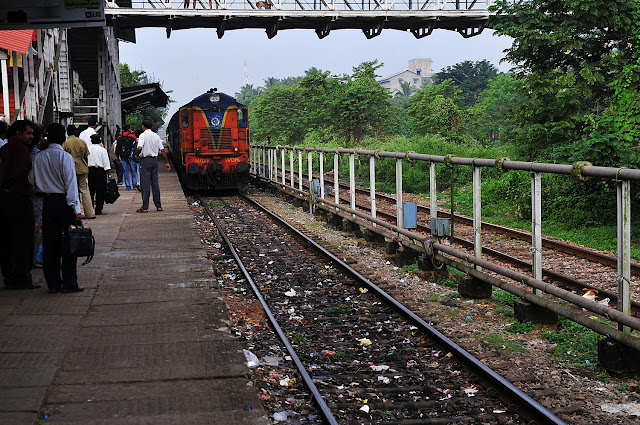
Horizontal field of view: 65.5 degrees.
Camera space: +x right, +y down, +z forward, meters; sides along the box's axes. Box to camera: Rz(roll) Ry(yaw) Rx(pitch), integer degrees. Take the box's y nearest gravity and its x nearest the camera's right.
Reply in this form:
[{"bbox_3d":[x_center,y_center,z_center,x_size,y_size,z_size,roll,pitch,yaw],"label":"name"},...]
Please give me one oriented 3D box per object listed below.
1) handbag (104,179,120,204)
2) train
[{"bbox_3d":[-6.632,-0.649,15.776,0.395,0.791,0.878,-4,10,2],"label":"handbag"},{"bbox_3d":[-4.785,-3.237,22.271,3.018,4.328,1.477,-1,13,-1],"label":"train"}]
